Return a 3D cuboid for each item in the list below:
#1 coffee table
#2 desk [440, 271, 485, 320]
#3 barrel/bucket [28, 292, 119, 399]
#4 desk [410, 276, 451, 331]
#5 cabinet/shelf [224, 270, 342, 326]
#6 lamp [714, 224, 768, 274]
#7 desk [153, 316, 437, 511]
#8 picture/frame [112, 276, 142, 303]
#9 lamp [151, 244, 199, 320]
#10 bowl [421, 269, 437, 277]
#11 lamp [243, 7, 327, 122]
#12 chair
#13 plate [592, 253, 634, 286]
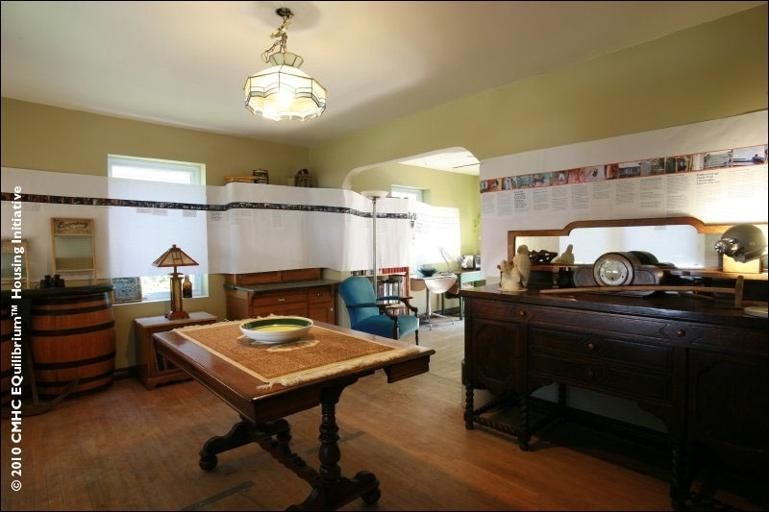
[{"bbox_3d":[-2.409,1.057,5.520,0.869,0.684,0.620,-2,3,-40],"label":"coffee table"},{"bbox_3d":[1.295,0.719,8.657,0.661,1.181,1.458,8,-4,3],"label":"desk"},{"bbox_3d":[-3.065,0.959,5.173,0.844,1.060,0.862,-7,-8,-1],"label":"barrel/bucket"},{"bbox_3d":[0.703,0.677,7.797,0.899,0.717,0.637,3,-6,3],"label":"desk"},{"bbox_3d":[-1.336,0.434,6.277,1.436,0.982,0.760,-1,-1,-37],"label":"cabinet/shelf"},{"bbox_3d":[2.450,-0.051,3.421,0.283,0.327,0.352,0,21,32],"label":"lamp"},{"bbox_3d":[-0.698,1.147,3.561,1.642,1.275,1.259,3,6,45],"label":"desk"},{"bbox_3d":[-2.971,0.390,5.542,0.332,0.333,0.051,4,-9,-42],"label":"picture/frame"},{"bbox_3d":[-2.392,0.278,5.541,0.419,0.817,0.573,-3,5,-25],"label":"lamp"},{"bbox_3d":[0.716,0.264,7.684,0.283,0.120,0.151,-4,5,-40],"label":"bowl"},{"bbox_3d":[-0.818,-1.510,3.930,0.621,0.742,0.597,-2,4,-13],"label":"lamp"},{"bbox_3d":[-0.061,0.700,5.653,0.819,0.825,0.689,4,6,24],"label":"chair"},{"bbox_3d":[1.823,0.145,3.966,0.349,0.300,0.174,2,-6,-2],"label":"plate"}]
